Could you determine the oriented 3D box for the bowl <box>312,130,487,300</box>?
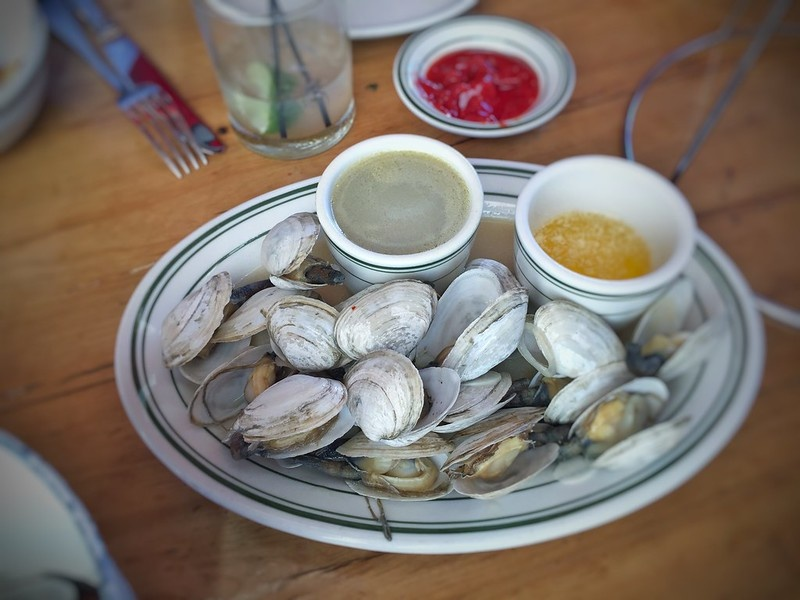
[{"bbox_3d":[-0.021,-0.110,1.017,0.243,0.177,0.243,0,69,-1],"label":"bowl"}]

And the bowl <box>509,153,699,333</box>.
[{"bbox_3d":[0.303,-0.086,0.973,0.249,0.182,0.248,0,64,1],"label":"bowl"}]
